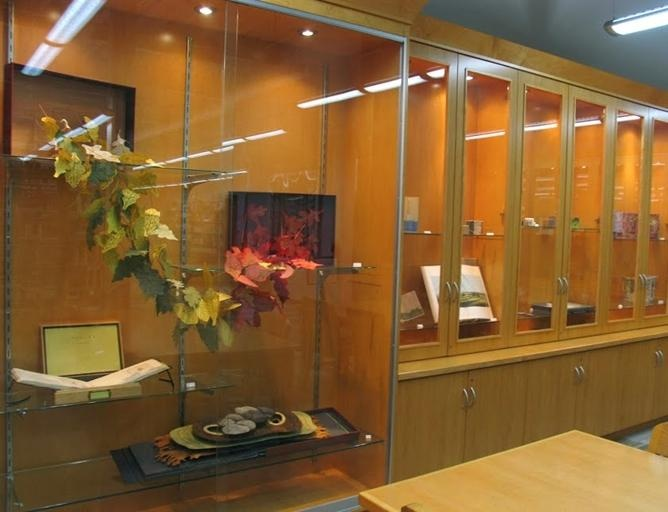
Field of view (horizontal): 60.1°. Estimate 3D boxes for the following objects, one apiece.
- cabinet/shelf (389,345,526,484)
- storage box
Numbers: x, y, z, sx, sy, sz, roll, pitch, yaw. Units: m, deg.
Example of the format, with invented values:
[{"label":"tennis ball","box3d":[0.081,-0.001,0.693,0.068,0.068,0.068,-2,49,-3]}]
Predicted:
[{"label":"cabinet/shelf","box3d":[0.752,0.924,3.443,0.769,0.691,0.281,-4,24,0]},{"label":"storage box","box3d":[-0.970,0.416,2.314,0.320,0.268,0.232,1,1,-43]}]
